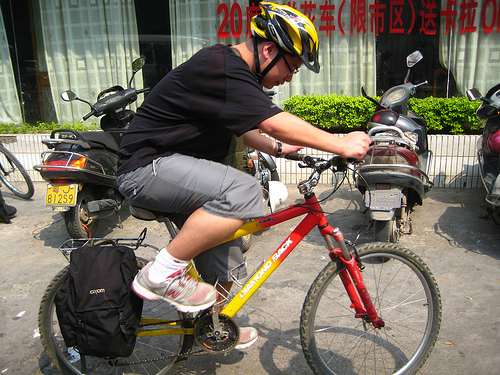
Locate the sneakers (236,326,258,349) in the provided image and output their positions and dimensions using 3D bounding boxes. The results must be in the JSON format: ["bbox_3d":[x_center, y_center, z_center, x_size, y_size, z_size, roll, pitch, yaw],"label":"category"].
[{"bbox_3d":[-0.028,1.013,2.709,0.136,0.071,0.218,8,18,15],"label":"sneakers"}]

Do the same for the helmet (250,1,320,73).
[{"bbox_3d":[0.232,-0.952,2.468,0.502,0.288,0.356,25,15,8],"label":"helmet"}]

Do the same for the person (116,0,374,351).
[{"bbox_3d":[-0.143,0.015,2.437,1.265,2.188,0.591,-7,17,-16],"label":"person"}]

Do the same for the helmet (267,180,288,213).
[{"bbox_3d":[0.182,0.046,2.704,0.155,0.162,0.198,12,29,27],"label":"helmet"}]

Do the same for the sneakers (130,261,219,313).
[{"bbox_3d":[-0.408,0.575,2.420,0.583,0.254,0.215,12,25,-26],"label":"sneakers"}]
